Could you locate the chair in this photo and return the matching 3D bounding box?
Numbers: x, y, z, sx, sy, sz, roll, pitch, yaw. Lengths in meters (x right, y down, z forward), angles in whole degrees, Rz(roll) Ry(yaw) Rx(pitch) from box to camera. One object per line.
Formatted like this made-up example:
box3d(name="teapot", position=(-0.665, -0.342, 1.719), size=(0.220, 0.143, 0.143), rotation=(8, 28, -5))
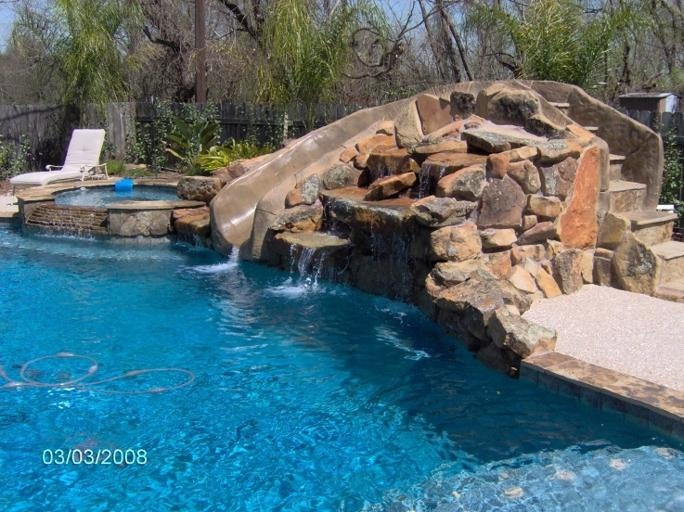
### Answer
box3d(name="chair", position=(-7.430, -2.609, 13.263), size=(1.133, 1.442, 2.693), rotation=(5, 14, 7))
